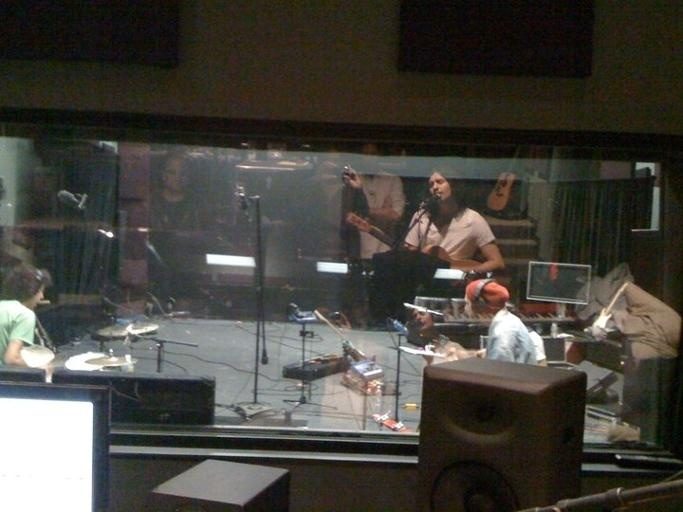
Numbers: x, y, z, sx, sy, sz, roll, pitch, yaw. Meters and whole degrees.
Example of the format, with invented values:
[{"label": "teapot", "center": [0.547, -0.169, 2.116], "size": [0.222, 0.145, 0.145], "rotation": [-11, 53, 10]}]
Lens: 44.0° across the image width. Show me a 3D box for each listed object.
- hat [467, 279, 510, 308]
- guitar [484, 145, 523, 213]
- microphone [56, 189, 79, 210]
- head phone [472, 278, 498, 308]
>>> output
[{"label": "hat", "center": [0.645, 0.163, 3.705], "size": [0.158, 0.078, 0.115], "rotation": [7, 4, 38]}, {"label": "guitar", "center": [0.690, -0.281, 3.603], "size": [0.096, 0.174, 0.041], "rotation": [25, 21, 6]}, {"label": "microphone", "center": [-1.180, -0.245, 3.642], "size": [0.086, 0.073, 0.064], "rotation": [-15, 11, -33]}, {"label": "head phone", "center": [0.614, 0.144, 3.669], "size": [0.078, 0.088, 0.117], "rotation": [-8, -9, 25]}]
